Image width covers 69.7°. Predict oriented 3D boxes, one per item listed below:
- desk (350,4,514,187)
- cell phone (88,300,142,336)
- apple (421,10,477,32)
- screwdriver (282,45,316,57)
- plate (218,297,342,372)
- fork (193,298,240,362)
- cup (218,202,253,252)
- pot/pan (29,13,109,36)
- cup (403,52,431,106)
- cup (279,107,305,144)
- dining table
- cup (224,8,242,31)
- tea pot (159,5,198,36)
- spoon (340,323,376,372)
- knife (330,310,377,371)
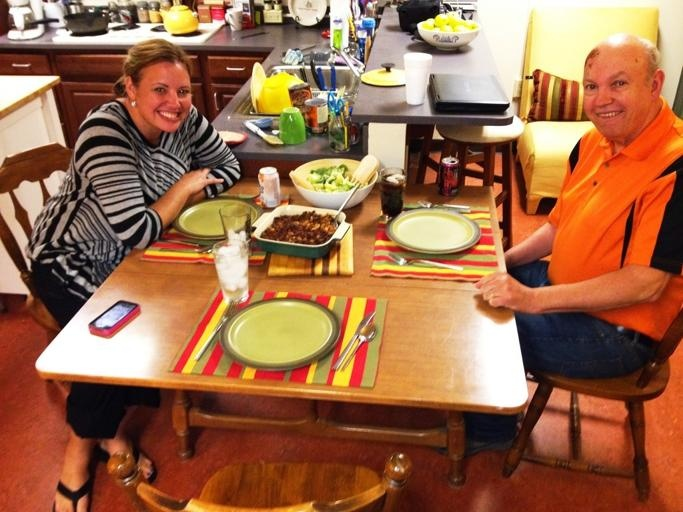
[{"bbox_3d":[0.465,-0.887,2.653,0.781,0.498,2.021,0,43,4],"label":"desk"},{"bbox_3d":[-0.692,0.177,1.509,0.083,0.027,0.117,11,35,14],"label":"cell phone"},{"bbox_3d":[0.642,-1.371,2.895,0.219,0.084,0.232,13,34,22],"label":"apple"},{"bbox_3d":[-0.297,-1.442,3.454,0.291,0.060,0.061,-9,57,-3],"label":"screwdriver"},{"bbox_3d":[-0.181,0.225,1.459,0.347,0.042,0.274,0,32,3],"label":"plate"},{"bbox_3d":[-0.367,0.209,1.537,0.037,0.044,0.303,1,37,17],"label":"fork"},{"bbox_3d":[-0.371,-0.097,1.719,0.107,0.161,0.104,-2,35,1],"label":"cup"},{"bbox_3d":[-2.117,-1.819,3.848,0.469,0.119,0.256,-18,39,-27],"label":"pot/pan"},{"bbox_3d":[0.340,-0.807,2.214,0.105,0.224,0.166,2,33,8],"label":"cup"},{"bbox_3d":[-0.235,-0.611,2.337,0.146,0.155,0.160,0,36,0],"label":"cup"},{"bbox_3d":[-0.085,0.242,1.817,1.350,0.679,1.370,2,37,6],"label":"dining table"},{"bbox_3d":[-0.890,-1.960,4.076,0.135,0.152,0.119,-6,33,-5],"label":"cup"},{"bbox_3d":[-1.301,-1.863,3.937,0.292,0.222,0.227,12,49,8],"label":"tea pot"},{"bbox_3d":[0.060,0.252,1.444,0.045,0.032,0.220,13,45,24],"label":"spoon"},{"bbox_3d":[0.039,0.256,1.435,0.060,0.025,0.221,9,41,30],"label":"knife"}]
